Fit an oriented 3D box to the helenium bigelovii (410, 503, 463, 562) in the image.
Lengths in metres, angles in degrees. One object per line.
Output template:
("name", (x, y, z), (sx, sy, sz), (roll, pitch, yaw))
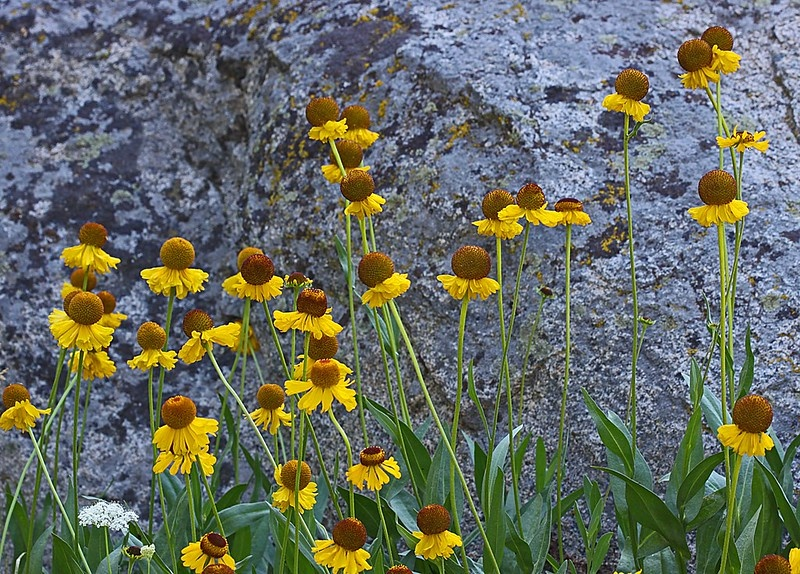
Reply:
("helenium bigelovii", (0.152, 0.945, 5.143), (0.170, 0.201, 0.245), (-7, 99, 12))
